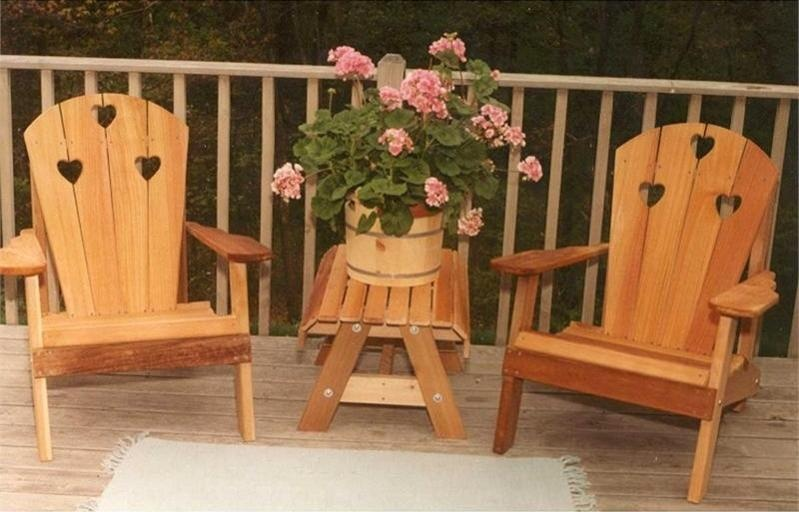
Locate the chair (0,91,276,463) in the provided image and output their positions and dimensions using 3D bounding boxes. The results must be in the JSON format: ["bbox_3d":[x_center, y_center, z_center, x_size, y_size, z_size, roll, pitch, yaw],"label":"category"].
[{"bbox_3d":[-1.257,0.030,4.466,1.108,1.533,1.008,-3,19,-13],"label":"chair"}]

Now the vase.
[{"bbox_3d":[-0.031,-0.067,4.539,0.680,0.344,0.664,3,15,1],"label":"vase"}]

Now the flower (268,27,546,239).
[{"bbox_3d":[0.041,-0.516,4.442,1.119,1.051,0.714,4,19,5],"label":"flower"}]

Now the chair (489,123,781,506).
[{"bbox_3d":[1.088,0.224,4.295,1.454,1.235,1.295,-16,27,-22],"label":"chair"}]
